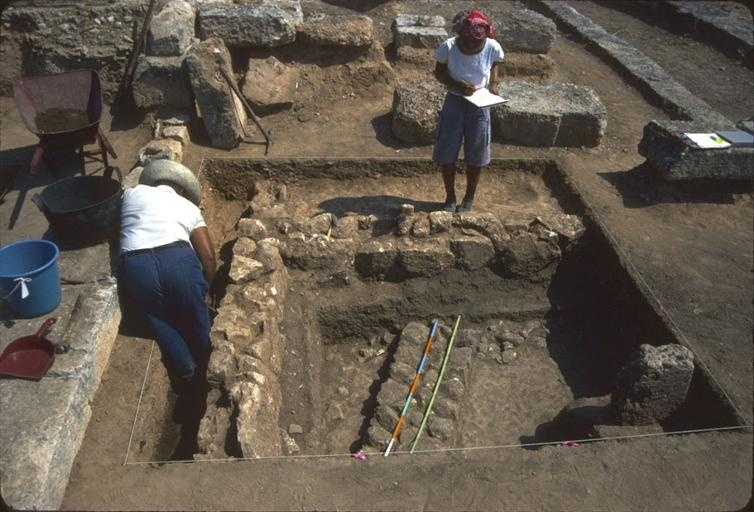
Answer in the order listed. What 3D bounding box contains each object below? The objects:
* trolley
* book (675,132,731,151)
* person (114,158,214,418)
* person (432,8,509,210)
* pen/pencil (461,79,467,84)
[{"bbox_3d":[-4.199,-1.843,9.021,1.162,0.769,1.640,-10,77,-22],"label":"trolley"},{"bbox_3d":[4.440,-1.560,9.164,0.673,0.104,0.274,-1,37,-6],"label":"book"},{"bbox_3d":[-2.408,0.236,7.990,0.994,2.686,1.487,-9,5,0],"label":"person"},{"bbox_3d":[1.076,-1.746,8.503,0.789,2.427,0.603,6,36,4],"label":"person"},{"bbox_3d":[1.055,-2.117,8.186,0.029,0.021,0.103,32,52,-22],"label":"pen/pencil"}]
